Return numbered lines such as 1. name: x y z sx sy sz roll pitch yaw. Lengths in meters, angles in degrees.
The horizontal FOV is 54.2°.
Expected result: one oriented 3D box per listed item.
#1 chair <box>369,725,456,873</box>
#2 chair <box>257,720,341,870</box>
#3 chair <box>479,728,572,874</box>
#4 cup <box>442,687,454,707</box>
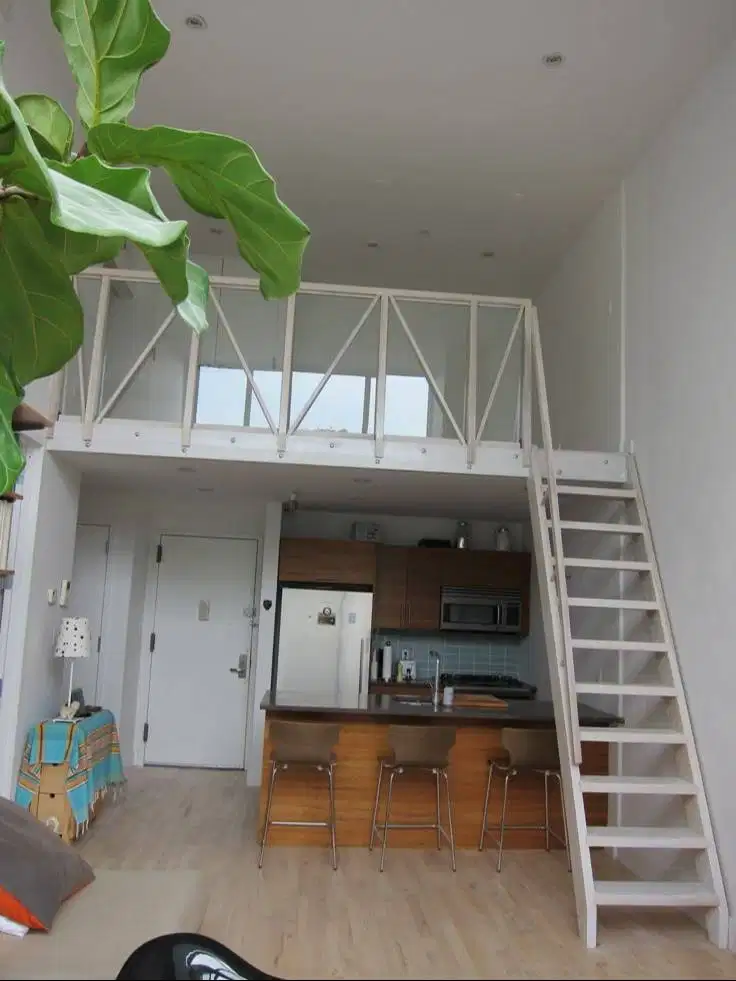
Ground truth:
1. chair: 0.289 1.992 4.801 0.579 0.881 0.603 1 -9 5
2. chair: -0.437 1.952 4.758 0.524 0.883 0.563 3 -9 -6
3. chair: 1.076 2.047 4.909 0.619 0.888 0.659 1 -9 4
4. cup: 0.594 1.543 5.356 0.070 0.128 0.205 2 -9 1
